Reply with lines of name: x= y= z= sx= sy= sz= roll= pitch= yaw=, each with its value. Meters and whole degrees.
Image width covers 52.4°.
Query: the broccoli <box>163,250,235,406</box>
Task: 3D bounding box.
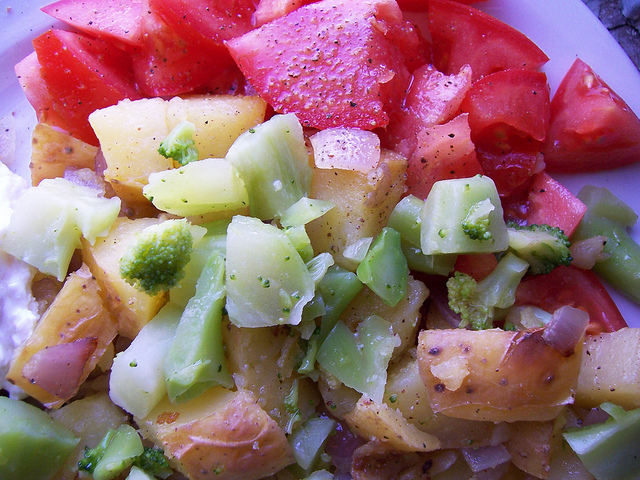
broccoli: x=-0.296 y=0.213 z=1.723 sx=0.155 sy=0.164 sz=0.452 roll=3 pitch=80 yaw=38

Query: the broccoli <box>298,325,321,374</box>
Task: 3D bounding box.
broccoli: x=-0.020 y=0.291 z=1.729 sx=0.038 sy=0.034 sz=0.156 roll=27 pitch=73 yaw=-29

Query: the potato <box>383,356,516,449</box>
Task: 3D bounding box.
potato: x=0.354 y=0.409 z=1.731 sx=0.277 sy=0.092 sz=0.264 roll=44 pitch=91 yaw=-6

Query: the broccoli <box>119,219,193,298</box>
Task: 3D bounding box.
broccoli: x=-0.420 y=0.048 z=1.677 sx=0.189 sy=0.076 sz=0.142 roll=-14 pitch=63 yaw=-11

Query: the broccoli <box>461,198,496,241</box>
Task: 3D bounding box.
broccoli: x=0.414 y=-0.059 z=1.704 sx=0.080 sy=0.063 sz=0.107 roll=12 pitch=61 yaw=3

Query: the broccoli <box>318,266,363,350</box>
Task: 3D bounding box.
broccoli: x=0.046 y=0.169 z=1.737 sx=0.048 sy=0.110 sz=0.197 roll=14 pitch=81 yaw=49

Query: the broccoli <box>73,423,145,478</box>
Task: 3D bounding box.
broccoli: x=-0.543 y=0.548 z=1.676 sx=0.104 sy=0.053 sz=0.154 roll=29 pitch=55 yaw=33

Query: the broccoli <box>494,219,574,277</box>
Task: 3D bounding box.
broccoli: x=0.599 y=0.037 z=1.823 sx=0.180 sy=0.077 sz=0.133 roll=21 pitch=68 yaw=9

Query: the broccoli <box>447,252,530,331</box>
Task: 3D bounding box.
broccoli: x=0.487 y=0.156 z=1.812 sx=0.259 sy=0.214 sz=0.121 roll=-23 pitch=98 yaw=8

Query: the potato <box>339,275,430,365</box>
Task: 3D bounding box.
potato: x=0.195 y=0.193 z=1.816 sx=0.268 sy=0.299 sz=0.082 roll=42 pitch=54 yaw=-16

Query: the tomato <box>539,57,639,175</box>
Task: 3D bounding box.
tomato: x=0.767 y=-0.337 z=1.862 sx=0.266 sy=0.125 sz=0.329 roll=-2 pitch=99 yaw=10

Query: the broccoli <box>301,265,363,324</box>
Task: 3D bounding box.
broccoli: x=0.035 y=0.139 z=1.733 sx=0.164 sy=0.058 sz=0.140 roll=-26 pitch=106 yaw=-22

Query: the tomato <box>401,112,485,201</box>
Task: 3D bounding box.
tomato: x=0.330 y=-0.237 z=1.817 sx=0.231 sy=0.149 sz=0.168 roll=-13 pitch=62 yaw=-11

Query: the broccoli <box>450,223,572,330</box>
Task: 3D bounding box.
broccoli: x=0.519 y=0.084 z=1.768 sx=0.230 sy=0.090 sz=0.336 roll=40 pitch=90 yaw=10

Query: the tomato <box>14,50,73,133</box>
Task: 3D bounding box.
tomato: x=-0.787 y=-0.445 z=1.969 sx=0.057 sy=0.184 sz=0.222 roll=-31 pitch=116 yaw=-41

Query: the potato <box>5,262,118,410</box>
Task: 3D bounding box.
potato: x=-0.678 y=0.279 z=1.756 sx=0.173 sy=0.191 sz=0.340 roll=32 pitch=64 yaw=15
